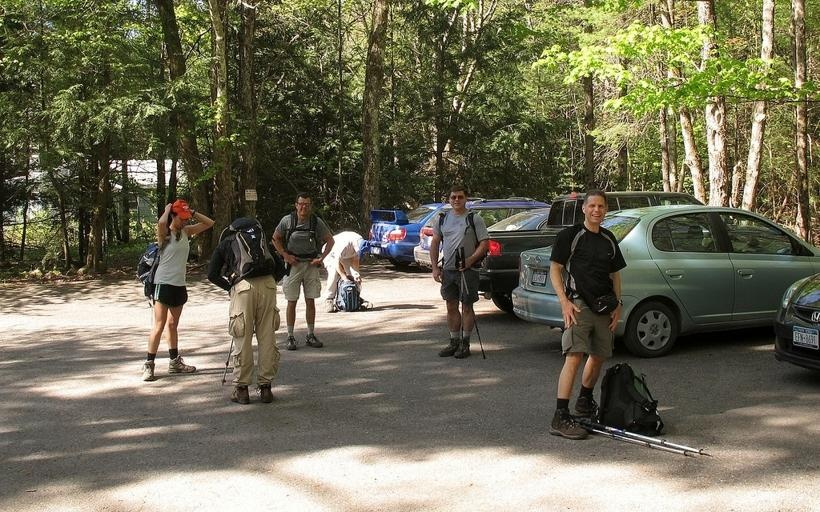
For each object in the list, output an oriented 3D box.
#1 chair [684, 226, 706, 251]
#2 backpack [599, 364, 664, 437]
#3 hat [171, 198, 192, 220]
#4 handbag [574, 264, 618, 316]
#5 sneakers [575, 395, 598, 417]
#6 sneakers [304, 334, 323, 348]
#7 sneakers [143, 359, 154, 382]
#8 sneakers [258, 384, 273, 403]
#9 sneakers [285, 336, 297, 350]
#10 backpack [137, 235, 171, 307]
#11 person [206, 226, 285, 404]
[{"bbox_3d":[4.521,-0.263,10.493,0.435,0.371,0.408,0,0,3],"label":"chair"},{"bbox_3d":[2.575,1.734,7.774,0.516,0.770,0.738,20,-26,-28],"label":"backpack"},{"bbox_3d":[-3.317,-0.666,9.751,0.331,0.179,0.237,32,28,19],"label":"hat"},{"bbox_3d":[2.154,0.420,7.692,0.462,0.532,0.199,5,-22,-5],"label":"handbag"},{"bbox_3d":[2.051,1.784,7.863,0.322,0.280,0.184,0,3,-3],"label":"sneakers"},{"bbox_3d":[-1.666,1.478,11.526,0.178,0.183,0.344,-2,-1,-41],"label":"sneakers"},{"bbox_3d":[-3.830,1.680,9.720,0.169,0.253,0.299,-6,13,-21],"label":"sneakers"},{"bbox_3d":[-1.878,1.804,8.758,0.203,0.221,0.192,-7,13,-26],"label":"sneakers"},{"bbox_3d":[-2.031,1.499,11.311,0.238,0.244,0.611,0,-2,-11],"label":"sneakers"},{"bbox_3d":[-3.856,0.303,9.885,0.324,0.954,0.505,-7,13,-22],"label":"backpack"},{"bbox_3d":[-2.145,0.723,8.860,0.918,2.352,0.954,-6,13,-19],"label":"person"}]
